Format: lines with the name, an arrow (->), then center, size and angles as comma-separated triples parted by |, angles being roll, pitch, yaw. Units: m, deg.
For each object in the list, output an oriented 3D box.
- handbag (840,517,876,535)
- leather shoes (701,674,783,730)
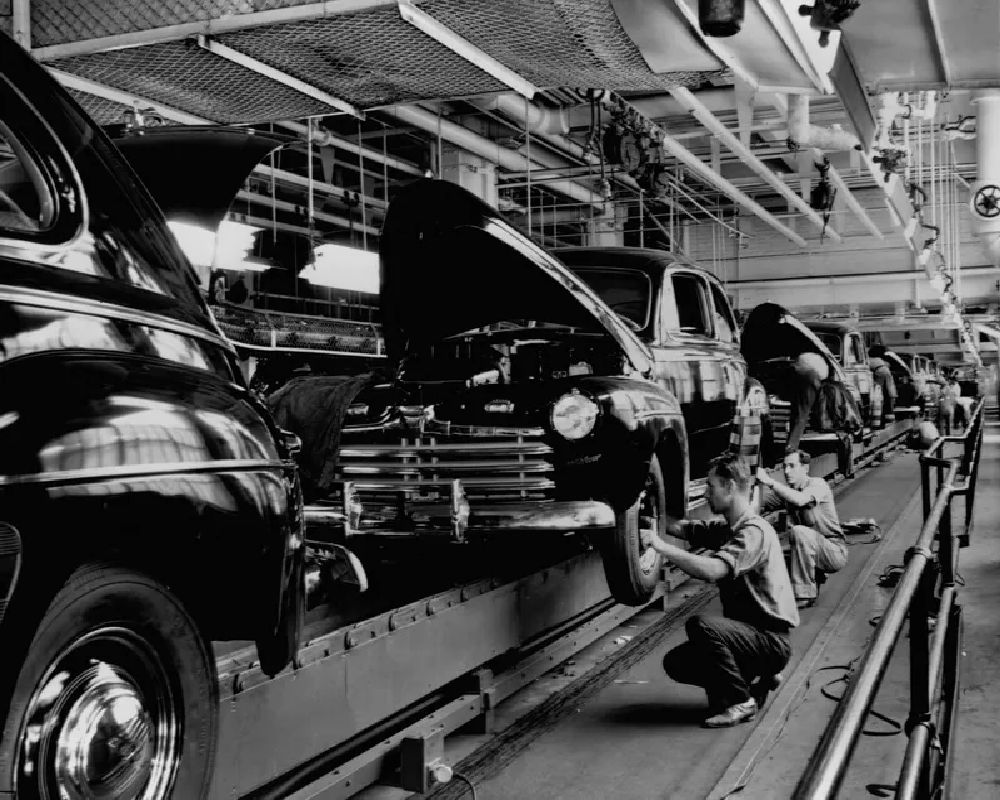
handbag -> 3.256, 1.135, 9.107 | 0.306, 0.080, 0.229 | -1, 2, 0
leather shoes -> 1.172, 1.437, 4.854 | 0.490, 0.184, 0.155 | -2, -5, -33
